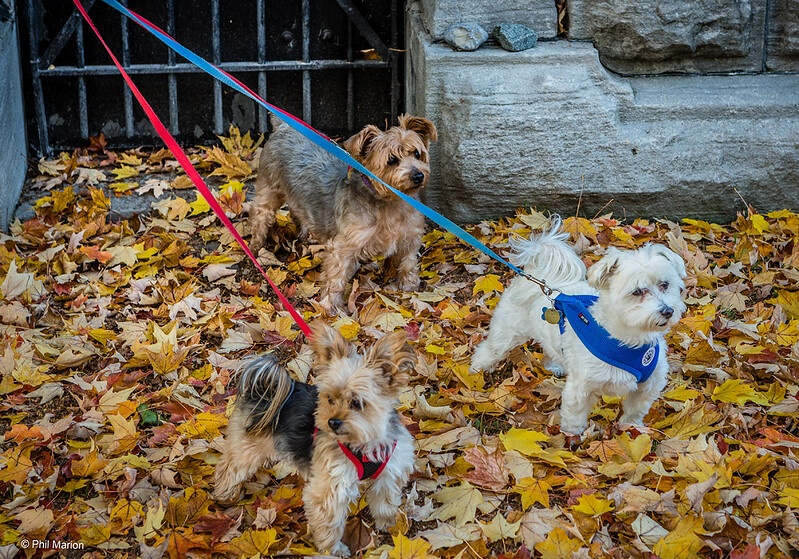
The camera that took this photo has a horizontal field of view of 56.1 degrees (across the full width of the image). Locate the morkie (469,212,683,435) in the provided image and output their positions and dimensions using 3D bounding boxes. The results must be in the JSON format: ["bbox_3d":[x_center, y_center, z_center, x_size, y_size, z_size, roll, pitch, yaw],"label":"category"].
[{"bbox_3d":[1.320,0.342,5.478,0.948,1.456,1.834,-11,20,-22],"label":"morkie"}]

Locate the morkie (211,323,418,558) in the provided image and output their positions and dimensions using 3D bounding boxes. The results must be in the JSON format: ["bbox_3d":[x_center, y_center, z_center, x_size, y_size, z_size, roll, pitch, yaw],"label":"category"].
[{"bbox_3d":[-0.515,1.065,4.650,1.426,1.394,0.805,16,26,35],"label":"morkie"}]
